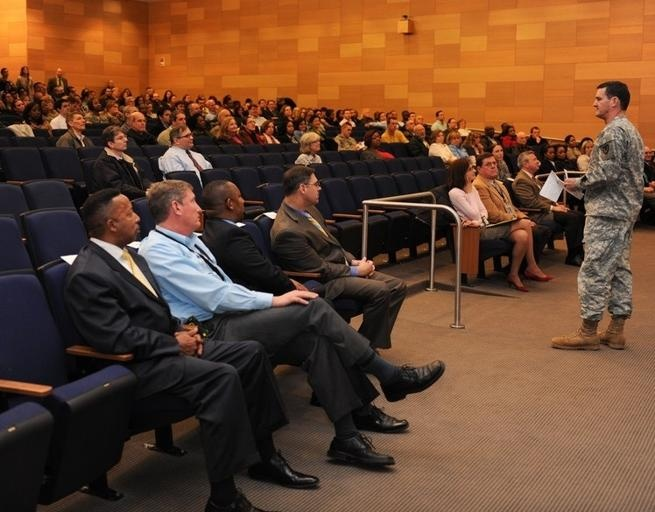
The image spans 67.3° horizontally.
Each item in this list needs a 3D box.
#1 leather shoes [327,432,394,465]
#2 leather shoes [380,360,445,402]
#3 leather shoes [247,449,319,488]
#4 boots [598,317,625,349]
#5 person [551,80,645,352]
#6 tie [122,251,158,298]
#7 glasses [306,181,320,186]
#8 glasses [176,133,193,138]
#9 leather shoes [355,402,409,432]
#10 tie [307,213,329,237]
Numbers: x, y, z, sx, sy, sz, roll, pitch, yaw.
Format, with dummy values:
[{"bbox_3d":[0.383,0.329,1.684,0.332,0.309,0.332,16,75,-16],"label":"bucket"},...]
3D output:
[{"bbox_3d":[0.097,0.847,2.199,0.380,0.121,0.108,1,-4,15],"label":"leather shoes"},{"bbox_3d":[0.406,0.607,2.415,0.366,0.133,0.155,-22,13,4],"label":"leather shoes"},{"bbox_3d":[-0.217,0.869,2.069,0.381,0.116,0.110,3,6,17],"label":"leather shoes"},{"bbox_3d":[2.027,0.523,3.494,0.154,0.226,0.281,3,0,0],"label":"boots"},{"bbox_3d":[1.875,-0.266,3.357,0.492,1.825,0.521,5,16,23],"label":"person"},{"bbox_3d":[-0.827,0.073,2.145,0.121,0.204,0.279,-9,15,-28],"label":"tie"},{"bbox_3d":[-0.091,-0.458,3.151,0.025,0.036,0.097,9,15,37],"label":"glasses"},{"bbox_3d":[-1.642,-1.370,5.591,0.099,0.019,0.091,-1,8,33],"label":"glasses"},{"bbox_3d":[0.190,0.797,2.400,0.392,0.110,0.112,0,5,9],"label":"leather shoes"},{"bbox_3d":[-0.068,-0.218,3.329,0.136,0.157,0.199,0,12,5],"label":"tie"}]
